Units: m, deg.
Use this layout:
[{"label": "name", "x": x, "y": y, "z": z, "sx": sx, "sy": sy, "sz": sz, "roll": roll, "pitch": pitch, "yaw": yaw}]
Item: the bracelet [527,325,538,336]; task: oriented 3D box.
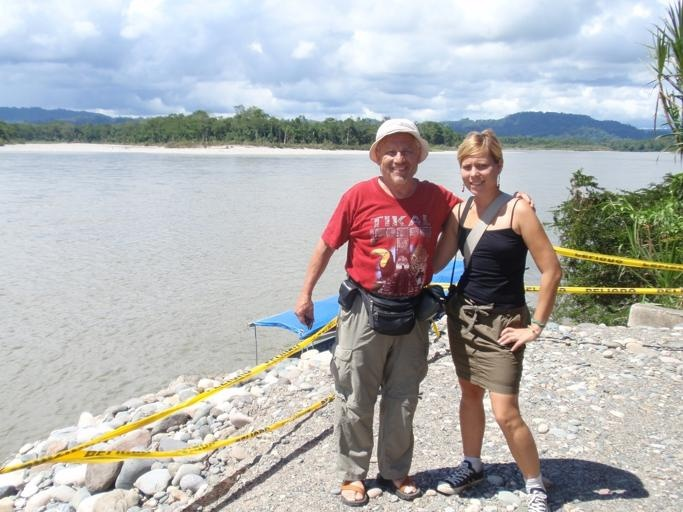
[{"label": "bracelet", "x": 1.451, "y": 0.559, "z": 3.865, "sx": 0.068, "sy": 0.082, "sz": 0.031, "roll": -25, "pitch": -17, "yaw": -7}]

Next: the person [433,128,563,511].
[{"label": "person", "x": 1.174, "y": 0.506, "z": 3.972, "sx": 1.019, "sy": 2.925, "sz": 0.650, "roll": 5, "pitch": 15, "yaw": 23}]

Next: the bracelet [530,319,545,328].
[{"label": "bracelet", "x": 1.494, "y": 0.514, "z": 3.884, "sx": 0.082, "sy": 0.028, "sz": 0.067, "roll": 23, "pitch": 2, "yaw": 28}]

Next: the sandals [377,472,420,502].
[{"label": "sandals", "x": 0.473, "y": 1.914, "z": 4.241, "sx": 0.314, "sy": 0.098, "sz": 0.158, "roll": 7, "pitch": 12, "yaw": 36}]

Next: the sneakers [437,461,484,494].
[{"label": "sneakers", "x": 1.002, "y": 1.835, "z": 4.247, "sx": 0.526, "sy": 0.187, "sz": 0.169, "roll": 3, "pitch": 8, "yaw": -34}]

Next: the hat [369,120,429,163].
[{"label": "hat", "x": 0.460, "y": -0.920, "z": 4.051, "sx": 0.408, "sy": 0.340, "sz": 0.459, "roll": -7, "pitch": 14, "yaw": -27}]
